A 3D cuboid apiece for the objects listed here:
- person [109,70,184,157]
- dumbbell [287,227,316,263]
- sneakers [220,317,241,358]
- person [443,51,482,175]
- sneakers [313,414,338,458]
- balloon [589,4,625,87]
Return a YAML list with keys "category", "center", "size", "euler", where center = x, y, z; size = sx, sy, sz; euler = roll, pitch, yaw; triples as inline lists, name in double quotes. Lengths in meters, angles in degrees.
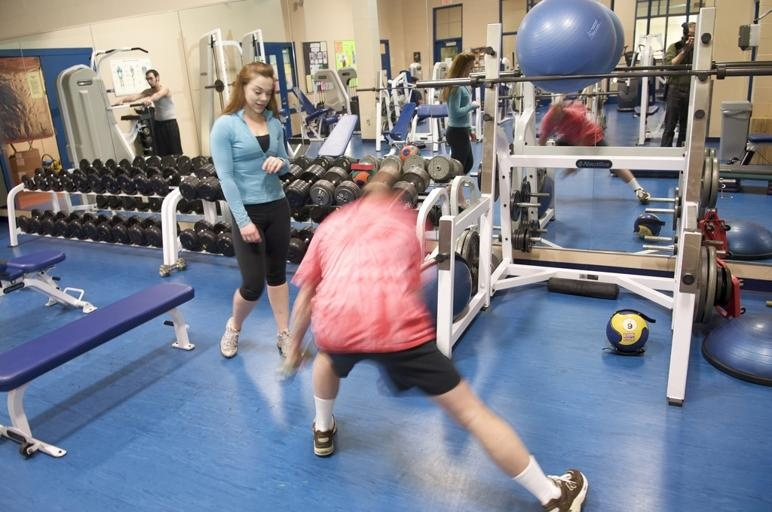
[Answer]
- category: "person"
  center: [-2.580, -1.465, 6.129]
  size: [0.638, 1.302, 0.539]
  euler: [7, 21, 9]
- category: "dumbbell"
  center: [-0.611, -0.074, 3.873]
  size: [0.144, 0.135, 0.318]
  euler: [26, 23, -2]
- category: "sneakers"
  center: [-1.020, 0.517, 3.569]
  size: [0.105, 0.282, 0.120]
  euler: [6, -14, -32]
- category: "person"
  center: [0.646, -1.216, 4.722]
  size: [0.301, 1.068, 0.266]
  euler: [8, 17, 16]
- category: "sneakers"
  center: [-0.324, 0.946, 2.868]
  size: [0.091, 0.098, 0.230]
  euler: [-1, 17, -1]
- category: "balloon"
  center: [1.416, -1.326, 3.376]
  size: [0.147, 0.522, 0.132]
  euler: [1, -4, 3]
